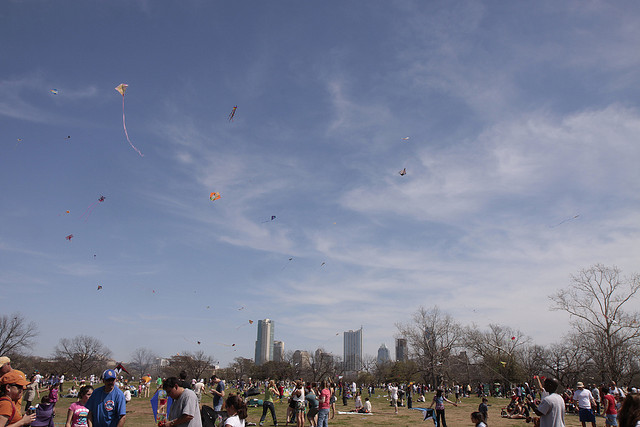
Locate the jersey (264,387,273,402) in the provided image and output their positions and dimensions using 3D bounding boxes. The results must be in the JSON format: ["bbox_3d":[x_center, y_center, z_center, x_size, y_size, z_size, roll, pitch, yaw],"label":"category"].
[{"bbox_3d":[-3.208,11.173,30.968,0.473,0.836,0.399,-1,-27,6],"label":"jersey"}]

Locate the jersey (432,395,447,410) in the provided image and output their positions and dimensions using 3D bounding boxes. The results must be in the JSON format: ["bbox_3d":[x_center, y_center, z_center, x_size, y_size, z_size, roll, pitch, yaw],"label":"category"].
[{"bbox_3d":[7.469,11.892,31.683,0.611,0.913,1.207,-4,-27,12],"label":"jersey"}]

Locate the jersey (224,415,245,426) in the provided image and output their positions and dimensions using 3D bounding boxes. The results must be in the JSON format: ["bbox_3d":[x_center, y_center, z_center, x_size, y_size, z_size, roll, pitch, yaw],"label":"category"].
[{"bbox_3d":[-3.616,8.889,21.548,0.286,0.451,0.995,-17,-32,34],"label":"jersey"}]

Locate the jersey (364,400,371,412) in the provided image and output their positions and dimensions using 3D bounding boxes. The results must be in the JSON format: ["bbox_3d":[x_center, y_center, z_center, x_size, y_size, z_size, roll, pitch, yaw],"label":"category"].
[{"bbox_3d":[3.697,15.174,39.439,0.492,0.759,1.149,1,-26,3],"label":"jersey"}]

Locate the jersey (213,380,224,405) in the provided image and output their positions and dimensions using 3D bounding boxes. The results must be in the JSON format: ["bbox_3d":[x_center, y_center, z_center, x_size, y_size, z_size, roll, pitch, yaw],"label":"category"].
[{"bbox_3d":[-5.822,10.339,29.004,0.462,1.294,0.701,9,-27,-12],"label":"jersey"}]

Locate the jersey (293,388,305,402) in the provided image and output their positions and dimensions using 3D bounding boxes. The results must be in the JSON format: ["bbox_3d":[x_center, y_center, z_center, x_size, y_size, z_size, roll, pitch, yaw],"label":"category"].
[{"bbox_3d":[-1.298,11.299,31.116,0.558,0.971,0.760,4,-12,-24],"label":"jersey"}]

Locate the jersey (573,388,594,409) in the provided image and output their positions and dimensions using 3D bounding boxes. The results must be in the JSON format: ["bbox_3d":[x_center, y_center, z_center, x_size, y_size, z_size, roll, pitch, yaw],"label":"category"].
[{"bbox_3d":[15.878,11.248,30.541,0.740,1.266,1.222,-13,-30,27],"label":"jersey"}]

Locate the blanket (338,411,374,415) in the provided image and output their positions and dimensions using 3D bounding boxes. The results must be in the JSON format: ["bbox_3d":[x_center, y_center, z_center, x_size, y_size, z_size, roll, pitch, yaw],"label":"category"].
[{"bbox_3d":[2.604,15.446,38.771,2.504,0.205,0.924,2,-26,-1],"label":"blanket"}]

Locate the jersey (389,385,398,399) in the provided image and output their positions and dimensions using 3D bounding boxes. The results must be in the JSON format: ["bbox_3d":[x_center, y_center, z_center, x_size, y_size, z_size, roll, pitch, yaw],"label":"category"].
[{"bbox_3d":[6.294,15.191,42.489,0.396,0.895,0.688,2,-6,-15],"label":"jersey"}]

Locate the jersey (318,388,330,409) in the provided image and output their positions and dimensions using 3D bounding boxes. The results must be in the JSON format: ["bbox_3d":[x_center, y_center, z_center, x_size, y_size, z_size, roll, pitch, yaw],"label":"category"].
[{"bbox_3d":[0.216,11.036,29.873,0.675,1.093,0.965,-12,-33,28],"label":"jersey"}]

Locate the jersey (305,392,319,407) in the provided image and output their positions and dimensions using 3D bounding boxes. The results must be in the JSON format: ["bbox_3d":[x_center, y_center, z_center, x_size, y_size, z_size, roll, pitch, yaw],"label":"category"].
[{"bbox_3d":[-0.489,11.375,30.643,0.742,0.853,0.687,6,-27,-7],"label":"jersey"}]

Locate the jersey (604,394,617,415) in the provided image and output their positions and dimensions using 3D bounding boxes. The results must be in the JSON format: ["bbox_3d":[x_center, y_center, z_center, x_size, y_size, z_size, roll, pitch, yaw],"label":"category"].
[{"bbox_3d":[17.227,11.478,30.107,0.456,1.089,1.030,-20,-34,37],"label":"jersey"}]
